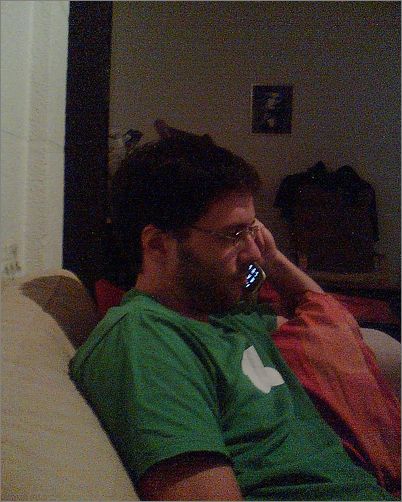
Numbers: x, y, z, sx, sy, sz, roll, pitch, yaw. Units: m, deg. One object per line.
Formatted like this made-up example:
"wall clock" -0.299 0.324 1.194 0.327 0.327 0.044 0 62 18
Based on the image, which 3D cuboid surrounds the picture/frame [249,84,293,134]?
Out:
"picture/frame" 0.183 -0.389 1.308 0.151 0.140 0.006 -5 21 -10
